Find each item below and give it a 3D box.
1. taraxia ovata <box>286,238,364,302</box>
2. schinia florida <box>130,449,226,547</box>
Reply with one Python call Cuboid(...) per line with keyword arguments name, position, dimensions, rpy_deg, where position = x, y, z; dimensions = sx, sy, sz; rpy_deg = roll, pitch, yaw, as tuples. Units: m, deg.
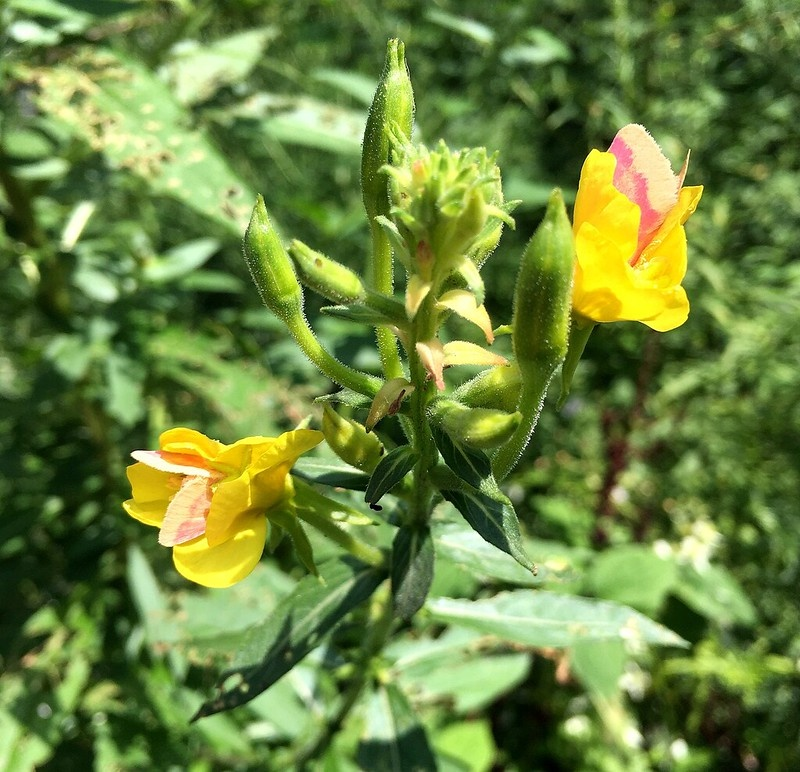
Cuboid(name="taraxia ovata", position=(-0.140, -0.207, 1.612), dimensions=(0.167, 0.104, 0.067), rpy_deg=(27, 81, 2))
Cuboid(name="schinia florida", position=(-0.404, 0.202, 1.644), dimensions=(0.146, 0.066, 0.192), rpy_deg=(-16, 80, -6))
